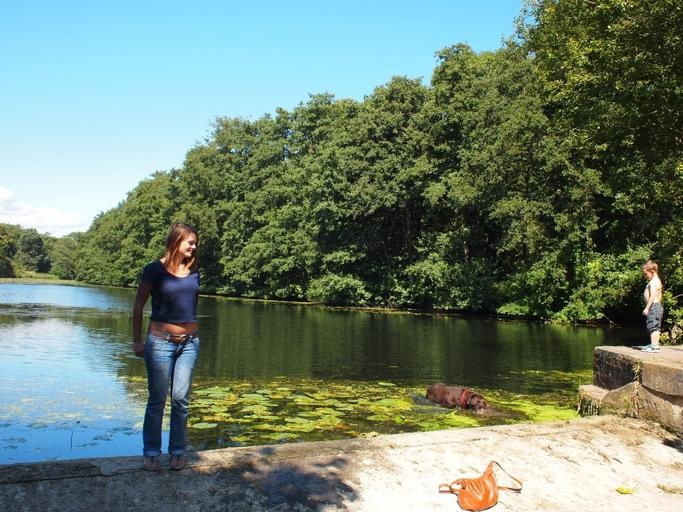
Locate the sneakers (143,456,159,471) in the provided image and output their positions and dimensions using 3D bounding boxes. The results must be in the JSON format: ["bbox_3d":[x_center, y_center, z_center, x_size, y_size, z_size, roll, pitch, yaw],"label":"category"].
[{"bbox_3d":[-1.993,2.138,6.102,0.162,0.114,0.226,4,-6,-17],"label":"sneakers"}]

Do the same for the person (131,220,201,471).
[{"bbox_3d":[-1.918,0.917,6.335,0.691,2.593,0.444,4,-6,-15],"label":"person"}]

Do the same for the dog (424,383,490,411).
[{"bbox_3d":[2.296,2.850,11.943,1.319,0.437,0.618,3,-3,38],"label":"dog"}]

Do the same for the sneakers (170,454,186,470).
[{"bbox_3d":[-1.719,2.136,6.107,0.156,0.143,0.123,4,-6,-16],"label":"sneakers"}]
